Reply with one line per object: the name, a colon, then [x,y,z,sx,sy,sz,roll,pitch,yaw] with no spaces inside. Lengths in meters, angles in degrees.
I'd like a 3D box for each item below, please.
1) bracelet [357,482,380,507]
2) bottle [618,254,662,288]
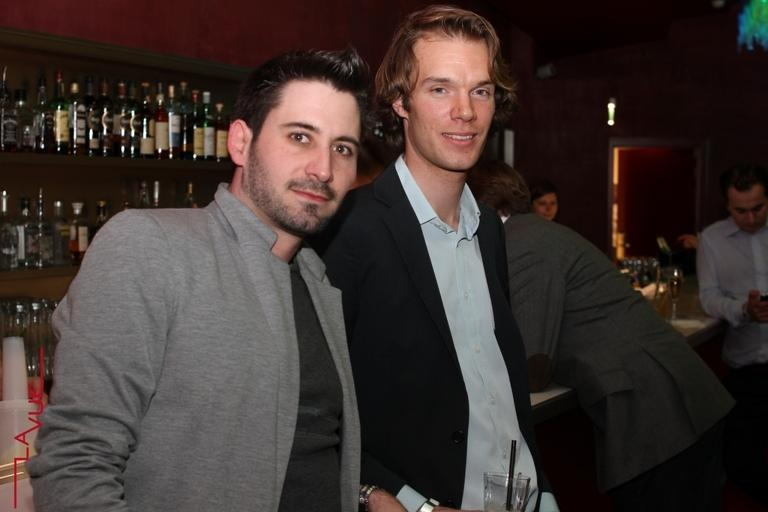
bracelet: [-0.052,0.690,1.787,0.042,0.064,0.060,2,-5,36]
bottle: [1.735,0.098,4.215,0.280,0.217,0.283,1,-6,0]
